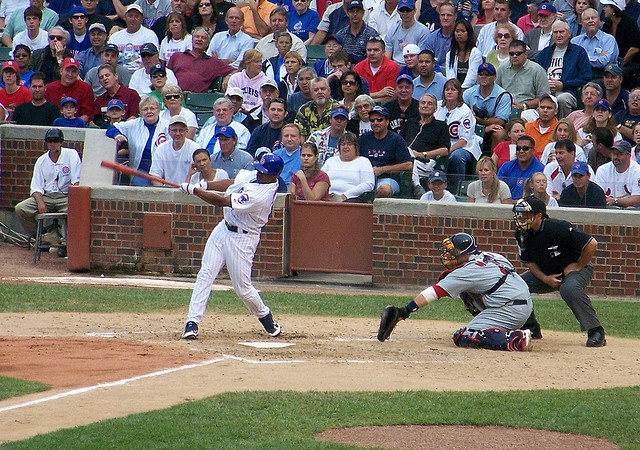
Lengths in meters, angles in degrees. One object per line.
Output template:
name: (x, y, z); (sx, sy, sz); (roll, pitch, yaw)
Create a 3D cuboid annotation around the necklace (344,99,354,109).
necklace: (0.634, -2.552, 29.472); (0.135, 0.109, 0.187); (0, -11, -7)

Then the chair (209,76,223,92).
chair: (-2.300, -3.188, 31.591); (0.316, 0.313, 0.325); (8, 5, 17)

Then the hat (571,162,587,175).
hat: (5.083, -1.133, 27.464); (0.336, 0.283, 0.311); (2, 0, 11)

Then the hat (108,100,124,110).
hat: (-4.320, -2.594, 30.086); (0.302, 0.221, 0.492); (0, -4, -4)

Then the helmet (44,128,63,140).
helmet: (-5.556, -1.940, 29.649); (0.400, 0.270, 0.291); (2, 0, -34)

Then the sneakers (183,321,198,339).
sneakers: (-2.184, 1.782, 23.925); (0.241, 0.287, 0.281); (2, 0, -4)

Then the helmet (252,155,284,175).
helmet: (-0.867, -1.044, 23.986); (0.427, 0.225, 0.326); (16, 27, -20)

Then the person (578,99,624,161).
person: (5.613, -1.882, 28.476); (0.857, 1.431, 0.816); (9, -3, 28)

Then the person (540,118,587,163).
person: (4.835, -1.560, 28.067); (1.031, 1.196, 0.783); (1, -4, 8)

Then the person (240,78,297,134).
person: (-1.025, -2.579, 30.262); (1.813, 1.244, 0.978); (-3, -2, -3)

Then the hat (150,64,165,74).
hat: (-3.465, -3.396, 30.347); (0.321, 0.248, 0.385); (2, 0, -6)

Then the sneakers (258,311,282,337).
sneakers: (-0.846, 1.722, 24.313); (0.260, 0.219, 0.572); (19, -28, 47)

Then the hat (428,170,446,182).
hat: (2.370, -0.989, 28.127); (0.351, 0.247, 0.284); (2, 0, -13)

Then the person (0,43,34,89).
person: (-6.748, -3.722, 32.131); (0.677, 1.068, 1.110); (5, 39, -5)

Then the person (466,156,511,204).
person: (3.383, -0.891, 27.982); (0.813, 0.905, 0.520); (6, 12, 32)

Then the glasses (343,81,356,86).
glasses: (0.635, -2.995, 29.411); (0.319, 0.156, 0.095); (2, 0, -5)

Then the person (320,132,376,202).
person: (0.611, -1.143, 28.431); (1.164, 1.121, 0.748); (6, 16, 21)

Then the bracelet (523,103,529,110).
bracelet: (4.332, -2.509, 29.615); (0.105, 0.133, 0.050); (-4, -38, 17)

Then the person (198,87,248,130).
person: (-2.018, -2.484, 29.932); (0.989, 0.945, 0.555); (-1, 20, -37)

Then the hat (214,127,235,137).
hat: (-1.869, -1.914, 28.454); (0.410, 0.235, 0.450); (2, 0, -6)

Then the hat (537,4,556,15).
hat: (5.026, -4.801, 31.107); (0.386, 0.289, 0.439); (2, 0, 9)

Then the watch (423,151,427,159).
watch: (2.134, -1.440, 28.571); (0.065, 0.102, 0.102); (1, 11, -3)

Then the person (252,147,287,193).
person: (-0.954, -1.174, 28.664); (0.354, 0.925, 0.644); (-24, -16, 26)

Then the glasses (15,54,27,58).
glasses: (-6.765, -3.899, 31.991); (0.264, 0.095, 0.095); (2, 0, -15)

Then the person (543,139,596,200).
person: (4.928, -0.956, 27.521); (0.649, 1.051, 0.563); (-5, 41, -4)

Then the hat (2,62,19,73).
hat: (-6.851, -3.572, 31.339); (0.366, 0.241, 0.289); (2, 0, -27)

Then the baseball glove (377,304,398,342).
baseball glove: (1.131, 1.609, 23.545); (0.246, 0.683, 0.314); (30, 32, 12)

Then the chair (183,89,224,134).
chair: (-2.574, -2.500, 31.143); (0.838, 1.150, 0.881); (-1, 6, -12)

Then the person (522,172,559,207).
person: (4.299, -0.643, 27.463); (0.579, 0.846, 0.527); (-1, -4, -33)

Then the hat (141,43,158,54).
hat: (-3.727, -3.917, 30.976); (0.358, 0.259, 0.329); (2, 0, -8)

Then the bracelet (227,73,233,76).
bracelet: (-2.006, -3.399, 31.505); (0.078, 0.075, 0.079); (40, 23, 13)

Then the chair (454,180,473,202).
chair: (2.856, -0.699, 28.049); (0.345, 0.493, 0.391); (1, 5, 6)

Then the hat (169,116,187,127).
hat: (-2.871, -2.156, 28.713); (0.345, 0.240, 0.448); (2, 0, -8)

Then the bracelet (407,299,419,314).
bracelet: (1.575, 1.359, 23.586); (0.207, 0.165, 0.209); (-7, 9, -5)

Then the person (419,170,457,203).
person: (2.381, -0.735, 28.118); (0.409, 0.849, 0.364); (3, 8, 9)

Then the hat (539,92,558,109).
hat: (4.718, -2.617, 29.004); (0.368, 0.307, 0.725); (2, 0, 8)

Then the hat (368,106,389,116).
hat: (1.243, -2.349, 28.413); (0.201, 0.169, 0.316); (-5, -25, 40)

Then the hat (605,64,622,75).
hat: (6.088, -3.253, 29.240); (0.348, 0.241, 0.325); (2, 0, -16)

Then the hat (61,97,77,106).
hat: (-5.402, -2.701, 30.601); (0.258, 0.190, 0.423); (5, -9, -6)

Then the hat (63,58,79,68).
hat: (-5.442, -3.592, 30.852); (0.365, 0.237, 0.347); (2, 0, -18)

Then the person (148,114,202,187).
person: (-2.967, -1.493, 28.641); (1.260, 1.629, 0.983); (9, 12, -1)

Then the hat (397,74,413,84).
hat: (1.768, -3.113, 29.225); (0.324, 0.231, 0.529); (-1, -11, 2)

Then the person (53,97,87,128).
person: (-5.443, -2.468, 30.786); (0.906, 0.879, 0.593); (-1, 3, -10)

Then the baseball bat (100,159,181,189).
baseball bat: (-3.591, -1.052, 28.254); (1.513, 0.170, 0.170); (21, -19, -4)

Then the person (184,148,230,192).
person: (-2.154, -1.071, 27.337); (0.845, 0.865, 0.499); (-5, 11, 5)

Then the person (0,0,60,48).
person: (-6.884, -4.835, 33.751); (1.272, 1.259, 0.739); (15, 4, 5)

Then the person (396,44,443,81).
person: (2.043, -3.511, 30.388); (1.468, 0.739, 0.581); (-4, -2, 23)

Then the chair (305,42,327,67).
chair: (-0.074, -3.857, 31.760); (0.751, 0.513, 0.270); (1, 12, 4)

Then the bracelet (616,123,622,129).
bracelet: (6.113, -2.050, 28.714); (0.083, 0.035, 0.118); (5, 33, 24)

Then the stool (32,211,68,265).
stool: (-5.784, 0.260, 29.574); (0.943, 1.251, 0.961); (-1, -3, -10)

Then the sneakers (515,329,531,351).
sneakers: (3.478, 1.944, 23.858); (0.177, 0.357, 0.228); (2, 0, 21)
